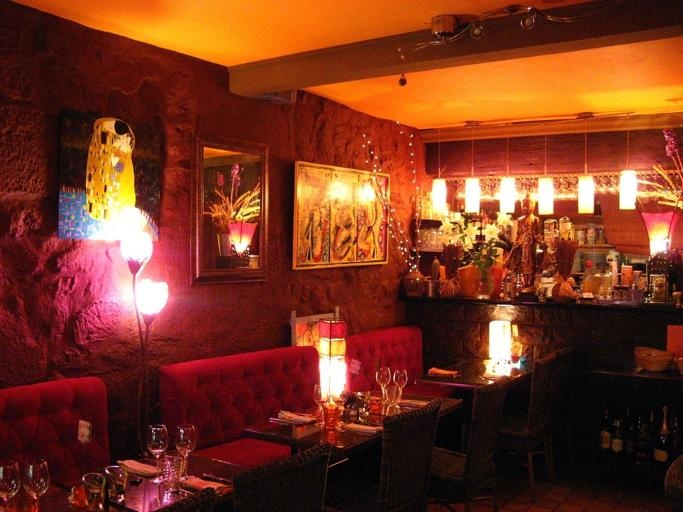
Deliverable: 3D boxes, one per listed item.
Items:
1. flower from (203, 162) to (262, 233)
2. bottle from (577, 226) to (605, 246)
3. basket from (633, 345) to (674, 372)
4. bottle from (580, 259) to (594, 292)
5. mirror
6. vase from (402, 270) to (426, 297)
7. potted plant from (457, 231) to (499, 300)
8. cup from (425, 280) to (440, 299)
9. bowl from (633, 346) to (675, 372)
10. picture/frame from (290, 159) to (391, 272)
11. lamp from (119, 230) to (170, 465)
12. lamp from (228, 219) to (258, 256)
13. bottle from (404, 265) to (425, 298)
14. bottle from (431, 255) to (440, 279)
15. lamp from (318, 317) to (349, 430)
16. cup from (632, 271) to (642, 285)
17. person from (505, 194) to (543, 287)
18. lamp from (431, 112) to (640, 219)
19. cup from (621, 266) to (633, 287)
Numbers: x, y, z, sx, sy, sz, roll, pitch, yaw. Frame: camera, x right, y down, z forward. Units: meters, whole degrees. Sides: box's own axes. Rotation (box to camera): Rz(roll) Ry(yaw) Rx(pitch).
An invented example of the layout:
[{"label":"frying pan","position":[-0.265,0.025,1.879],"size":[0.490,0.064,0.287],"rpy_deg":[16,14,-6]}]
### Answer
[{"label":"flower","position":[-1.004,-0.480,5.042],"size":[0.475,0.684,0.605],"rpy_deg":[-2,-4,44]},{"label":"bottle","position":[3.727,-0.294,8.092],"size":[0.256,0.258,0.138],"rpy_deg":[-2,-6,39]},{"label":"basket","position":[3.090,1.023,5.395],"size":[0.261,0.135,0.202],"rpy_deg":[-1,0,18]},{"label":"bottle","position":[2.901,0.275,6.421],"size":[0.131,0.281,0.270],"rpy_deg":[-1,1,24]},{"label":"mirror","position":[-1.001,-0.400,4.905],"size":[0.049,1.026,0.831],"rpy_deg":[-1,1,41]},{"label":"vase","position":[0.958,0.347,6.990],"size":[0.286,0.366,0.299],"rpy_deg":[-4,-5,29]},{"label":"potted plant","position":[1.723,0.195,6.901],"size":[0.545,0.578,0.445],"rpy_deg":[3,1,28]},{"label":"cup","position":[1.173,0.417,6.990],"size":[0.184,0.209,0.212],"rpy_deg":[-1,1,8]},{"label":"bowl","position":[3.099,1.021,5.404],"size":[0.263,0.127,0.203],"rpy_deg":[0,0,15]},{"label":"picture/frame","position":[-0.008,-0.429,6.174],"size":[0.039,1.085,1.498],"rpy_deg":[1,4,-44]},{"label":"lamp","position":[-1.483,0.675,4.201],"size":[0.449,1.539,0.313],"rpy_deg":[-2,1,-43]},{"label":"lamp","position":[-0.892,-0.176,5.001],"size":[0.258,0.243,0.265],"rpy_deg":[1,-4,1]},{"label":"bottle","position":[0.942,0.324,7.094],"size":[0.302,0.372,0.302],"rpy_deg":[2,-1,-13]},{"label":"bottle","position":[1.256,0.160,7.264],"size":[0.106,0.286,0.364],"rpy_deg":[-1,1,9]},{"label":"lamp","position":[-0.057,0.955,4.650],"size":[0.172,0.860,0.209],"rpy_deg":[5,12,40]},{"label":"cup","position":[3.411,0.252,6.256],"size":[0.108,0.156,0.267],"rpy_deg":[-1,2,33]},{"label":"person","position":[2.155,-0.157,6.449],"size":[0.406,1.112,0.150],"rpy_deg":[-1,1,16]},{"label":"lamp","position":[2.192,-1.051,7.093],"size":[2.848,1.196,0.287],"rpy_deg":[1,-17,25]},{"label":"cup","position":[3.313,0.233,6.279],"size":[0.099,0.214,0.136],"rpy_deg":[-1,1,15]}]
